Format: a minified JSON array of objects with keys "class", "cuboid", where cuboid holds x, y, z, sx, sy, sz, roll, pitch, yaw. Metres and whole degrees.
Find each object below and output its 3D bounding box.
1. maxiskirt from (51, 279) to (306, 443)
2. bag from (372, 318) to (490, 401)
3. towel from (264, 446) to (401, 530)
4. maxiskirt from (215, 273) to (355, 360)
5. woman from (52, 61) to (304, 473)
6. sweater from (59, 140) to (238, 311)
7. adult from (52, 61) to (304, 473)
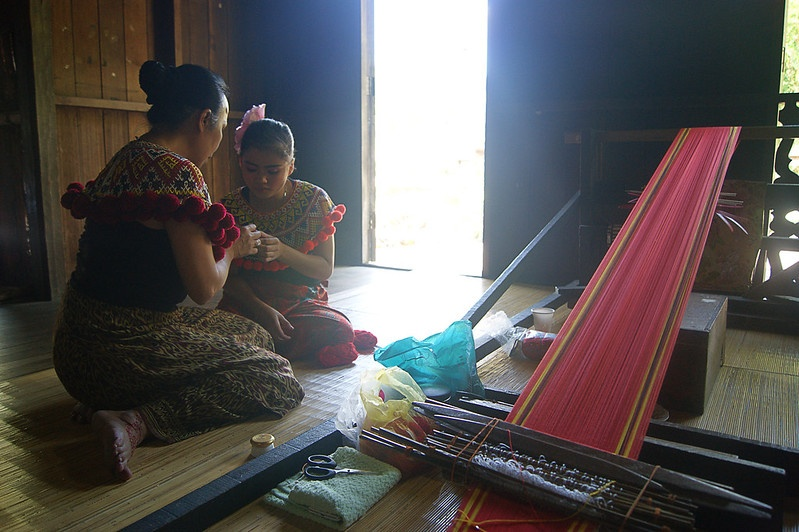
[{"class":"maxiskirt","cuboid":[-1.072,0.337,2.773,1.099,0.603,1.178,1,11,-16]},{"class":"bag","cuboid":[0.222,0.439,3.056,0.591,0.287,0.728,2,6,39]},{"class":"towel","cuboid":[-0.251,0.830,2.134,0.380,0.109,0.364,8,16,31]},{"class":"maxiskirt","cuboid":[-0.626,0.278,3.087,0.635,0.265,0.468,18,17,29]},{"class":"woman","cuboid":[-1.215,-0.206,3.262,1.434,2.203,1.568,-4,15,-36]},{"class":"sweater","cuboid":[-1.151,-0.153,2.472,0.819,0.753,0.691,-4,-12,39]},{"class":"adult","cuboid":[-1.022,-0.051,2.666,1.056,1.658,1.191,2,5,-35]}]
